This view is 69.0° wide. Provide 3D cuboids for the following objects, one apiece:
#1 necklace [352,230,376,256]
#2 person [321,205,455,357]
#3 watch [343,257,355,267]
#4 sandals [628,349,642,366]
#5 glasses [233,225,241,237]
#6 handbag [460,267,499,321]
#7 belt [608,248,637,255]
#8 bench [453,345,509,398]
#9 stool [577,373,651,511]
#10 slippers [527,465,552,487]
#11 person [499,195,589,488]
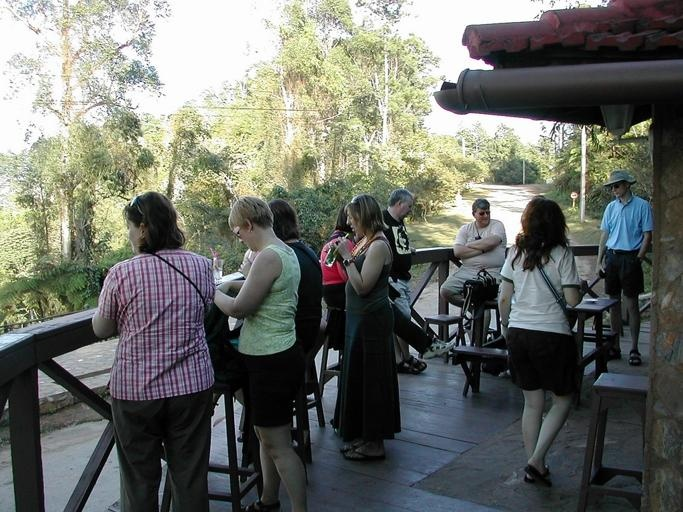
[{"bbox_3d":[0.160,-0.081,3.787,0.102,0.180,0.176,15,13,7],"label":"necklace"},{"bbox_3d":[0.330,0.331,4.579,0.714,1.527,1.530,3,8,43],"label":"person"},{"bbox_3d":[0.042,0.050,3.661,0.052,0.036,0.065,-2,-21,12],"label":"watch"},{"bbox_3d":[3.484,1.210,5.931,0.138,0.175,0.204,1,7,31],"label":"sandals"},{"bbox_3d":[-0.624,-0.147,2.955,0.043,0.064,0.046,2,-1,-1],"label":"glasses"},{"bbox_3d":[1.649,0.431,5.982,0.177,0.433,0.554,9,21,33],"label":"handbag"},{"bbox_3d":[3.372,-0.045,5.938,0.262,0.072,0.066,1,7,31],"label":"belt"},{"bbox_3d":[1.406,1.088,5.122,0.716,0.500,0.517,2,9,18],"label":"bench"},{"bbox_3d":[1.689,1.146,3.130,0.359,1.043,0.769,1,7,30],"label":"stool"},{"bbox_3d":[1.398,1.588,3.564,0.253,0.109,0.085,19,15,-34],"label":"slippers"},{"bbox_3d":[1.426,0.603,3.623,0.537,2.030,0.424,0,6,18],"label":"person"}]
